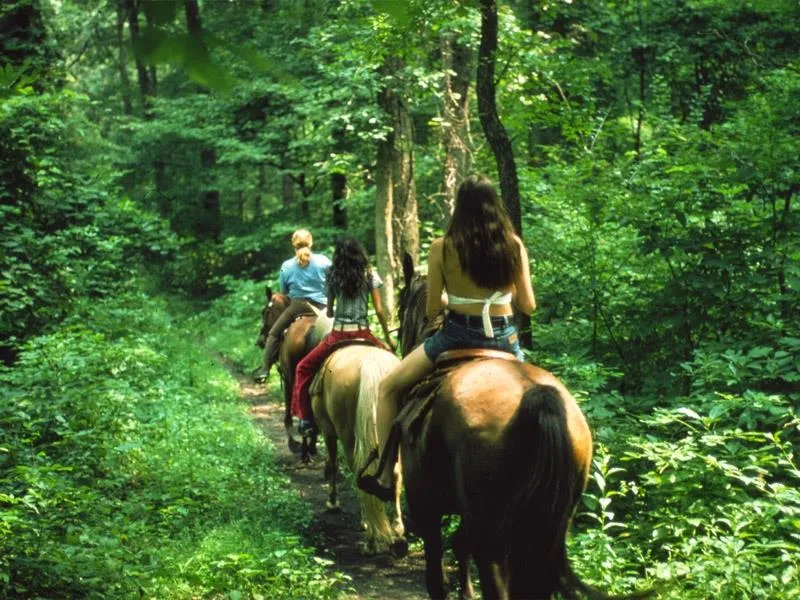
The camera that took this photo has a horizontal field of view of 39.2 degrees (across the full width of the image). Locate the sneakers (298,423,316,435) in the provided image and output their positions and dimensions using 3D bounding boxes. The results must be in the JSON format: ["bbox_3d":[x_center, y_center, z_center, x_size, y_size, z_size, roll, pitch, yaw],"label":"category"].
[{"bbox_3d":[-1.428,1.971,17.154,0.244,0.245,0.245,0,-4,-27],"label":"sneakers"}]
